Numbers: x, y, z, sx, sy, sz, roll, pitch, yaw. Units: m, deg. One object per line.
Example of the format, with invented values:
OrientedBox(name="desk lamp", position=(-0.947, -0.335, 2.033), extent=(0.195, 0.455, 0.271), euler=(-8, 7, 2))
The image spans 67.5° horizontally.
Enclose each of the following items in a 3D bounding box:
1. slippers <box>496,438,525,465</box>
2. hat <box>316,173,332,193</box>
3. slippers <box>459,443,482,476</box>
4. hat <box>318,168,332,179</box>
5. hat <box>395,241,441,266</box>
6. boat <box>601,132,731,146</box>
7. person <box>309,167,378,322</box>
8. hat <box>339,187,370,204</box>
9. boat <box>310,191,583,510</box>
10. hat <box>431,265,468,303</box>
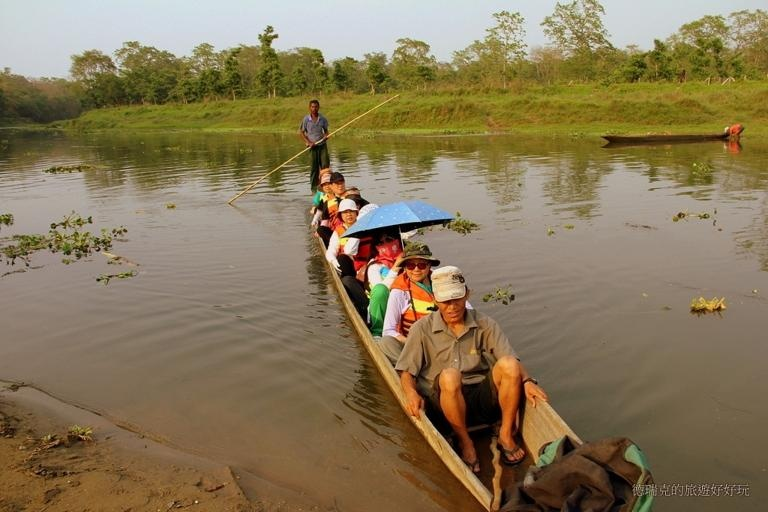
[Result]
OrientedBox(name="slippers", position=(1.238, 1.942, 5.661), extent=(0.322, 0.145, 0.176), euler=(5, 16, 32))
OrientedBox(name="hat", position=(-1.123, -1.395, 11.026), extent=(0.425, 0.152, 0.540), euler=(-5, -25, -13))
OrientedBox(name="slippers", position=(0.853, 1.944, 5.542), extent=(0.145, 0.088, 0.378), euler=(-11, 18, -17))
OrientedBox(name="hat", position=(-1.189, -1.683, 11.633), extent=(0.316, 0.105, 0.407), euler=(-14, -6, -14))
OrientedBox(name="hat", position=(0.410, -0.016, 7.068), extent=(0.470, 0.193, 0.491), euler=(-1, -5, 6))
OrientedBox(name="boat", position=(11.712, -4.735, 23.482), extent=(6.059, 0.559, 1.206), euler=(-2, 13, -4))
OrientedBox(name="person", position=(-0.721, -0.493, 9.573), extent=(0.858, 1.079, 3.392), euler=(-10, 22, -4))
OrientedBox(name="hat", position=(-0.482, -1.013, 9.692), extent=(0.426, 0.173, 0.457), euler=(-7, 12, -9))
OrientedBox(name="boat", position=(0.230, 0.960, 7.228), extent=(1.313, 0.776, 5.835), euler=(-19, 37, -12))
OrientedBox(name="hat", position=(0.638, 0.277, 5.639), extent=(0.304, 0.202, 0.383), euler=(-2, 15, 3))
